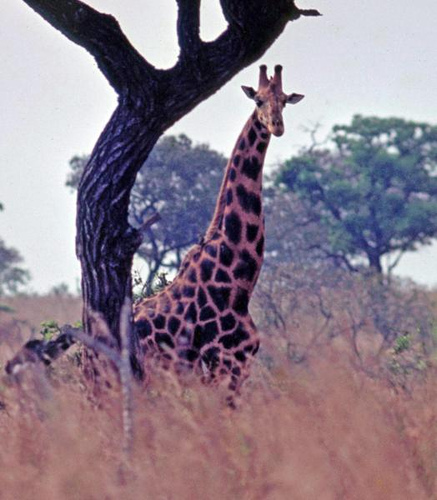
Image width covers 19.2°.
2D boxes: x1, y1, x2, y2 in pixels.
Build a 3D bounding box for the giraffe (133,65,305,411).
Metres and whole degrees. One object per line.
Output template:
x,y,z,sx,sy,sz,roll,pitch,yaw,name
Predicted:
-0.063,-0.157,17.008,1.984,4.225,1.296,-3,12,-3,giraffe
